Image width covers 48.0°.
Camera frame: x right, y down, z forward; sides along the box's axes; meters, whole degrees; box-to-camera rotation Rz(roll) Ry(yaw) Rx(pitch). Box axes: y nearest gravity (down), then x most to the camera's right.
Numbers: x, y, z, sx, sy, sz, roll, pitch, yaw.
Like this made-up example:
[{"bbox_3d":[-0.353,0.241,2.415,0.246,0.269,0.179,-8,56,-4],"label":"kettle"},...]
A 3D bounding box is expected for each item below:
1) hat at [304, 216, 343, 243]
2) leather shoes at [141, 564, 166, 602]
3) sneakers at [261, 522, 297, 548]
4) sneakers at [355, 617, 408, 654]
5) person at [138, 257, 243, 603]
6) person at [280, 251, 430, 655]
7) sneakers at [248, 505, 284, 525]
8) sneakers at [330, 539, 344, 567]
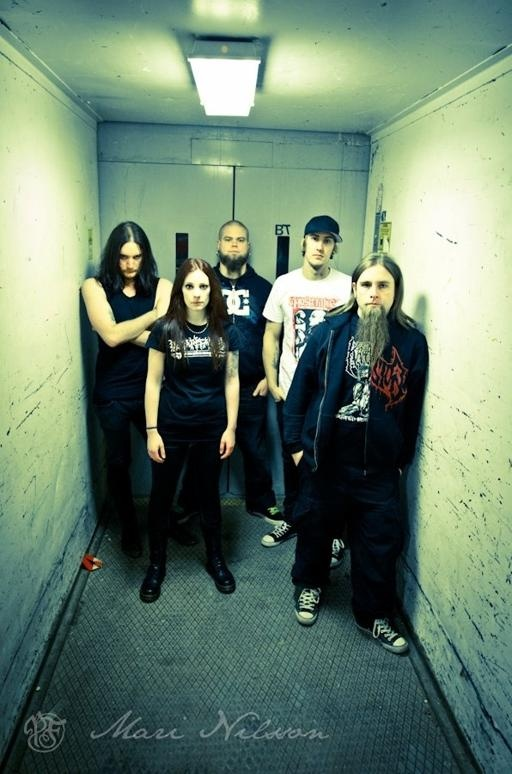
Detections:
[{"bbox_3d":[0.339,-0.782,2.804,0.194,0.119,0.155,-7,16,-31],"label":"hat"},{"bbox_3d":[-0.450,0.862,2.516,0.054,0.117,0.175,10,-1,2],"label":"leather shoes"},{"bbox_3d":[0.116,0.764,3.026,0.078,0.097,0.230,36,11,31],"label":"sneakers"},{"bbox_3d":[0.503,0.963,2.291,0.070,0.089,0.193,-23,12,-25],"label":"sneakers"},{"bbox_3d":[-0.287,0.182,2.498,0.417,1.449,0.310,0,12,-4],"label":"person"},{"bbox_3d":[0.361,0.246,2.242,0.541,1.496,0.262,5,13,16],"label":"person"},{"bbox_3d":[0.061,0.710,3.290,0.199,0.091,0.080,8,24,24],"label":"sneakers"},{"bbox_3d":[0.391,0.803,2.839,0.077,0.095,0.235,-1,0,7],"label":"sneakers"}]
